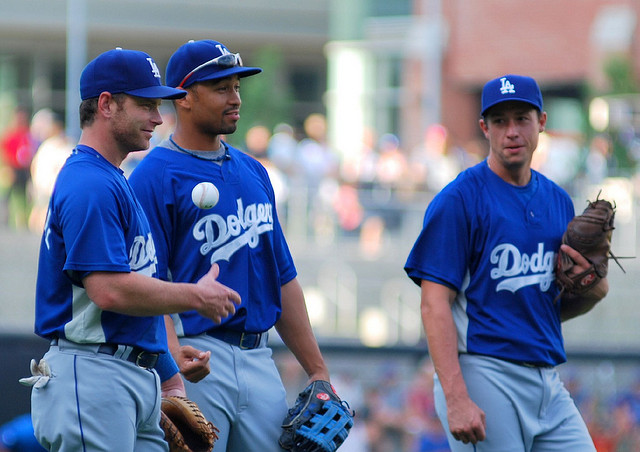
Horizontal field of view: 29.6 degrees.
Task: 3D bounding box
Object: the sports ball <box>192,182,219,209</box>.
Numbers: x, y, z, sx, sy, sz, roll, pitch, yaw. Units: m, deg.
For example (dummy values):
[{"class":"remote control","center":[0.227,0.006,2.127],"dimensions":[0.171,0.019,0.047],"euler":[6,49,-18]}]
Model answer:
[{"class":"sports ball","center":[-1.089,-0.277,11.630],"dimensions":[0.221,0.251,0.217],"euler":[11,-8,2]}]
